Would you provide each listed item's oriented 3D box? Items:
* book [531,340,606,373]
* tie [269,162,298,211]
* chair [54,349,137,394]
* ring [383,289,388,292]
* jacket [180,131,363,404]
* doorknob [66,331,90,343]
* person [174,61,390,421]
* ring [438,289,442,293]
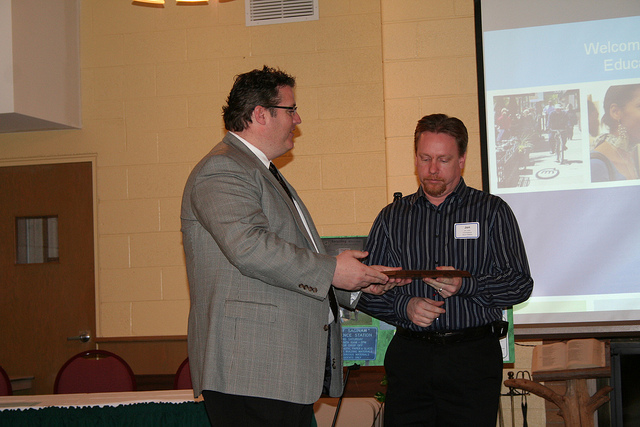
[{"bbox_3d":[2.041,1.183,6.334,0.515,0.124,0.350,-11,28,23],"label":"book"},{"bbox_3d":[-0.232,-0.169,4.887,0.071,0.058,0.507,3,32,-20],"label":"tie"},{"bbox_3d":[-1.803,1.270,6.222,0.620,0.356,0.291,-2,0,-16],"label":"chair"},{"bbox_3d":[0.424,0.500,4.992,0.023,0.023,0.021,-7,-16,14],"label":"ring"},{"bbox_3d":[-0.378,0.513,5.513,1.455,1.814,1.417,-2,-9,2],"label":"jacket"},{"bbox_3d":[-2.133,1.097,6.873,0.153,0.031,0.095,-3,19,-15],"label":"doorknob"},{"bbox_3d":[-0.315,0.180,4.810,1.044,2.185,0.380,-2,0,-10],"label":"person"},{"bbox_3d":[0.780,0.501,5.002,0.021,0.029,0.008,0,4,5],"label":"ring"}]
